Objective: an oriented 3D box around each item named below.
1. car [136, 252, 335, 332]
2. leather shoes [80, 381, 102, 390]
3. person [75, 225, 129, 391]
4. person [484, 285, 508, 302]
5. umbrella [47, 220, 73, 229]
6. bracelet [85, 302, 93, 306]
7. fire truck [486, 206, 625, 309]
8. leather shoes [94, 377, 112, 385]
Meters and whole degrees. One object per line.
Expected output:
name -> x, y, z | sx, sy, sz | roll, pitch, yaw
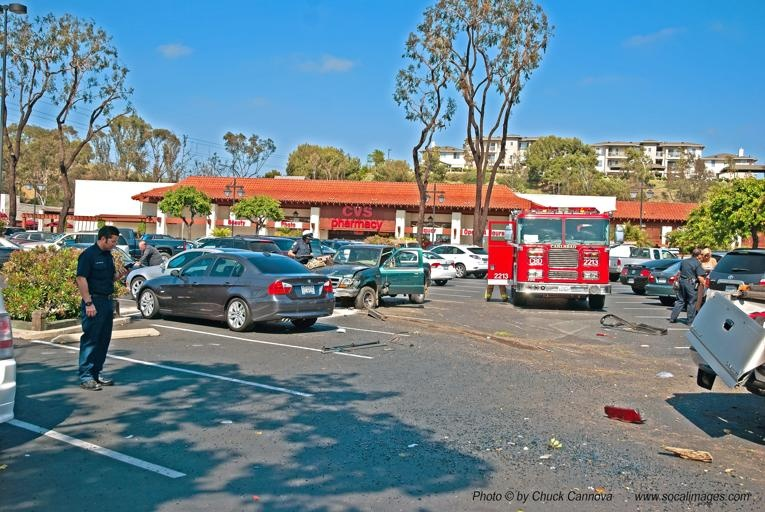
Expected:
car -> -3.843, 0.751, 14.708 | 4.389, 1.353, 1.979 | 4, 2, 28
leather shoes -> -4.418, 1.950, 8.853 | 0.316, 0.126, 0.133 | 3, 6, 11
person -> -4.439, 0.771, 9.008 | 0.533, 2.489, 0.563 | 2, 2, -27
person -> 4.737, 1.565, 24.153 | 1.099, 0.400, 0.994 | 1, -21, 15
umbrella -> -36.546, -3.664, 65.902 | 3.010, 0.733, 2.068 | 0, 2, 2
bracelet -> -4.415, 0.708, 8.752 | 0.109, 0.066, 0.061 | 1, 3, -42
fire truck -> 6.268, 0.053, 22.762 | 3.045, 2.397, 5.004 | 0, -3, 4
leather shoes -> -4.309, 1.934, 8.963 | 0.260, 0.105, 0.095 | -2, 0, 23
